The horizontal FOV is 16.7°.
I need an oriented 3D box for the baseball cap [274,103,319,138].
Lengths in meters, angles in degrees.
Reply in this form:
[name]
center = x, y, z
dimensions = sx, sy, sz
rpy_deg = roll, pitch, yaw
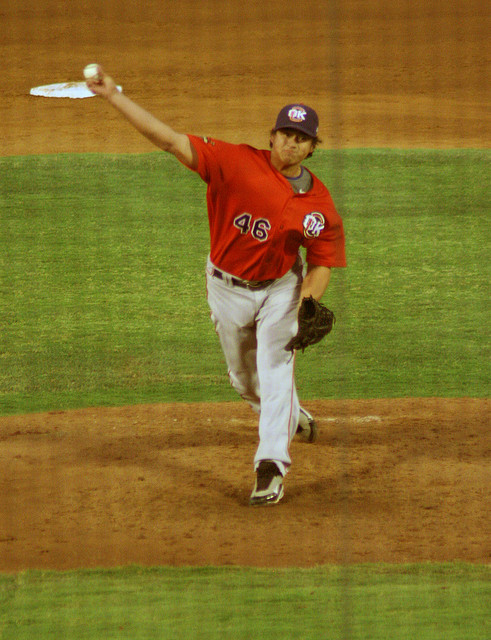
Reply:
[baseball cap]
center = 0.366, -1.443, 12.179
dimensions = 0.308, 0.233, 0.198
rpy_deg = 5, 9, 0

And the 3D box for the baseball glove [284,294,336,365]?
[baseball glove]
center = 0.454, 0.026, 12.406
dimensions = 0.343, 0.469, 0.232
rpy_deg = 33, 13, -16

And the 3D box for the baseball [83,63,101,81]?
[baseball]
center = -1.068, -1.697, 11.571
dimensions = 0.100, 0.103, 0.110
rpy_deg = -14, 21, 18
